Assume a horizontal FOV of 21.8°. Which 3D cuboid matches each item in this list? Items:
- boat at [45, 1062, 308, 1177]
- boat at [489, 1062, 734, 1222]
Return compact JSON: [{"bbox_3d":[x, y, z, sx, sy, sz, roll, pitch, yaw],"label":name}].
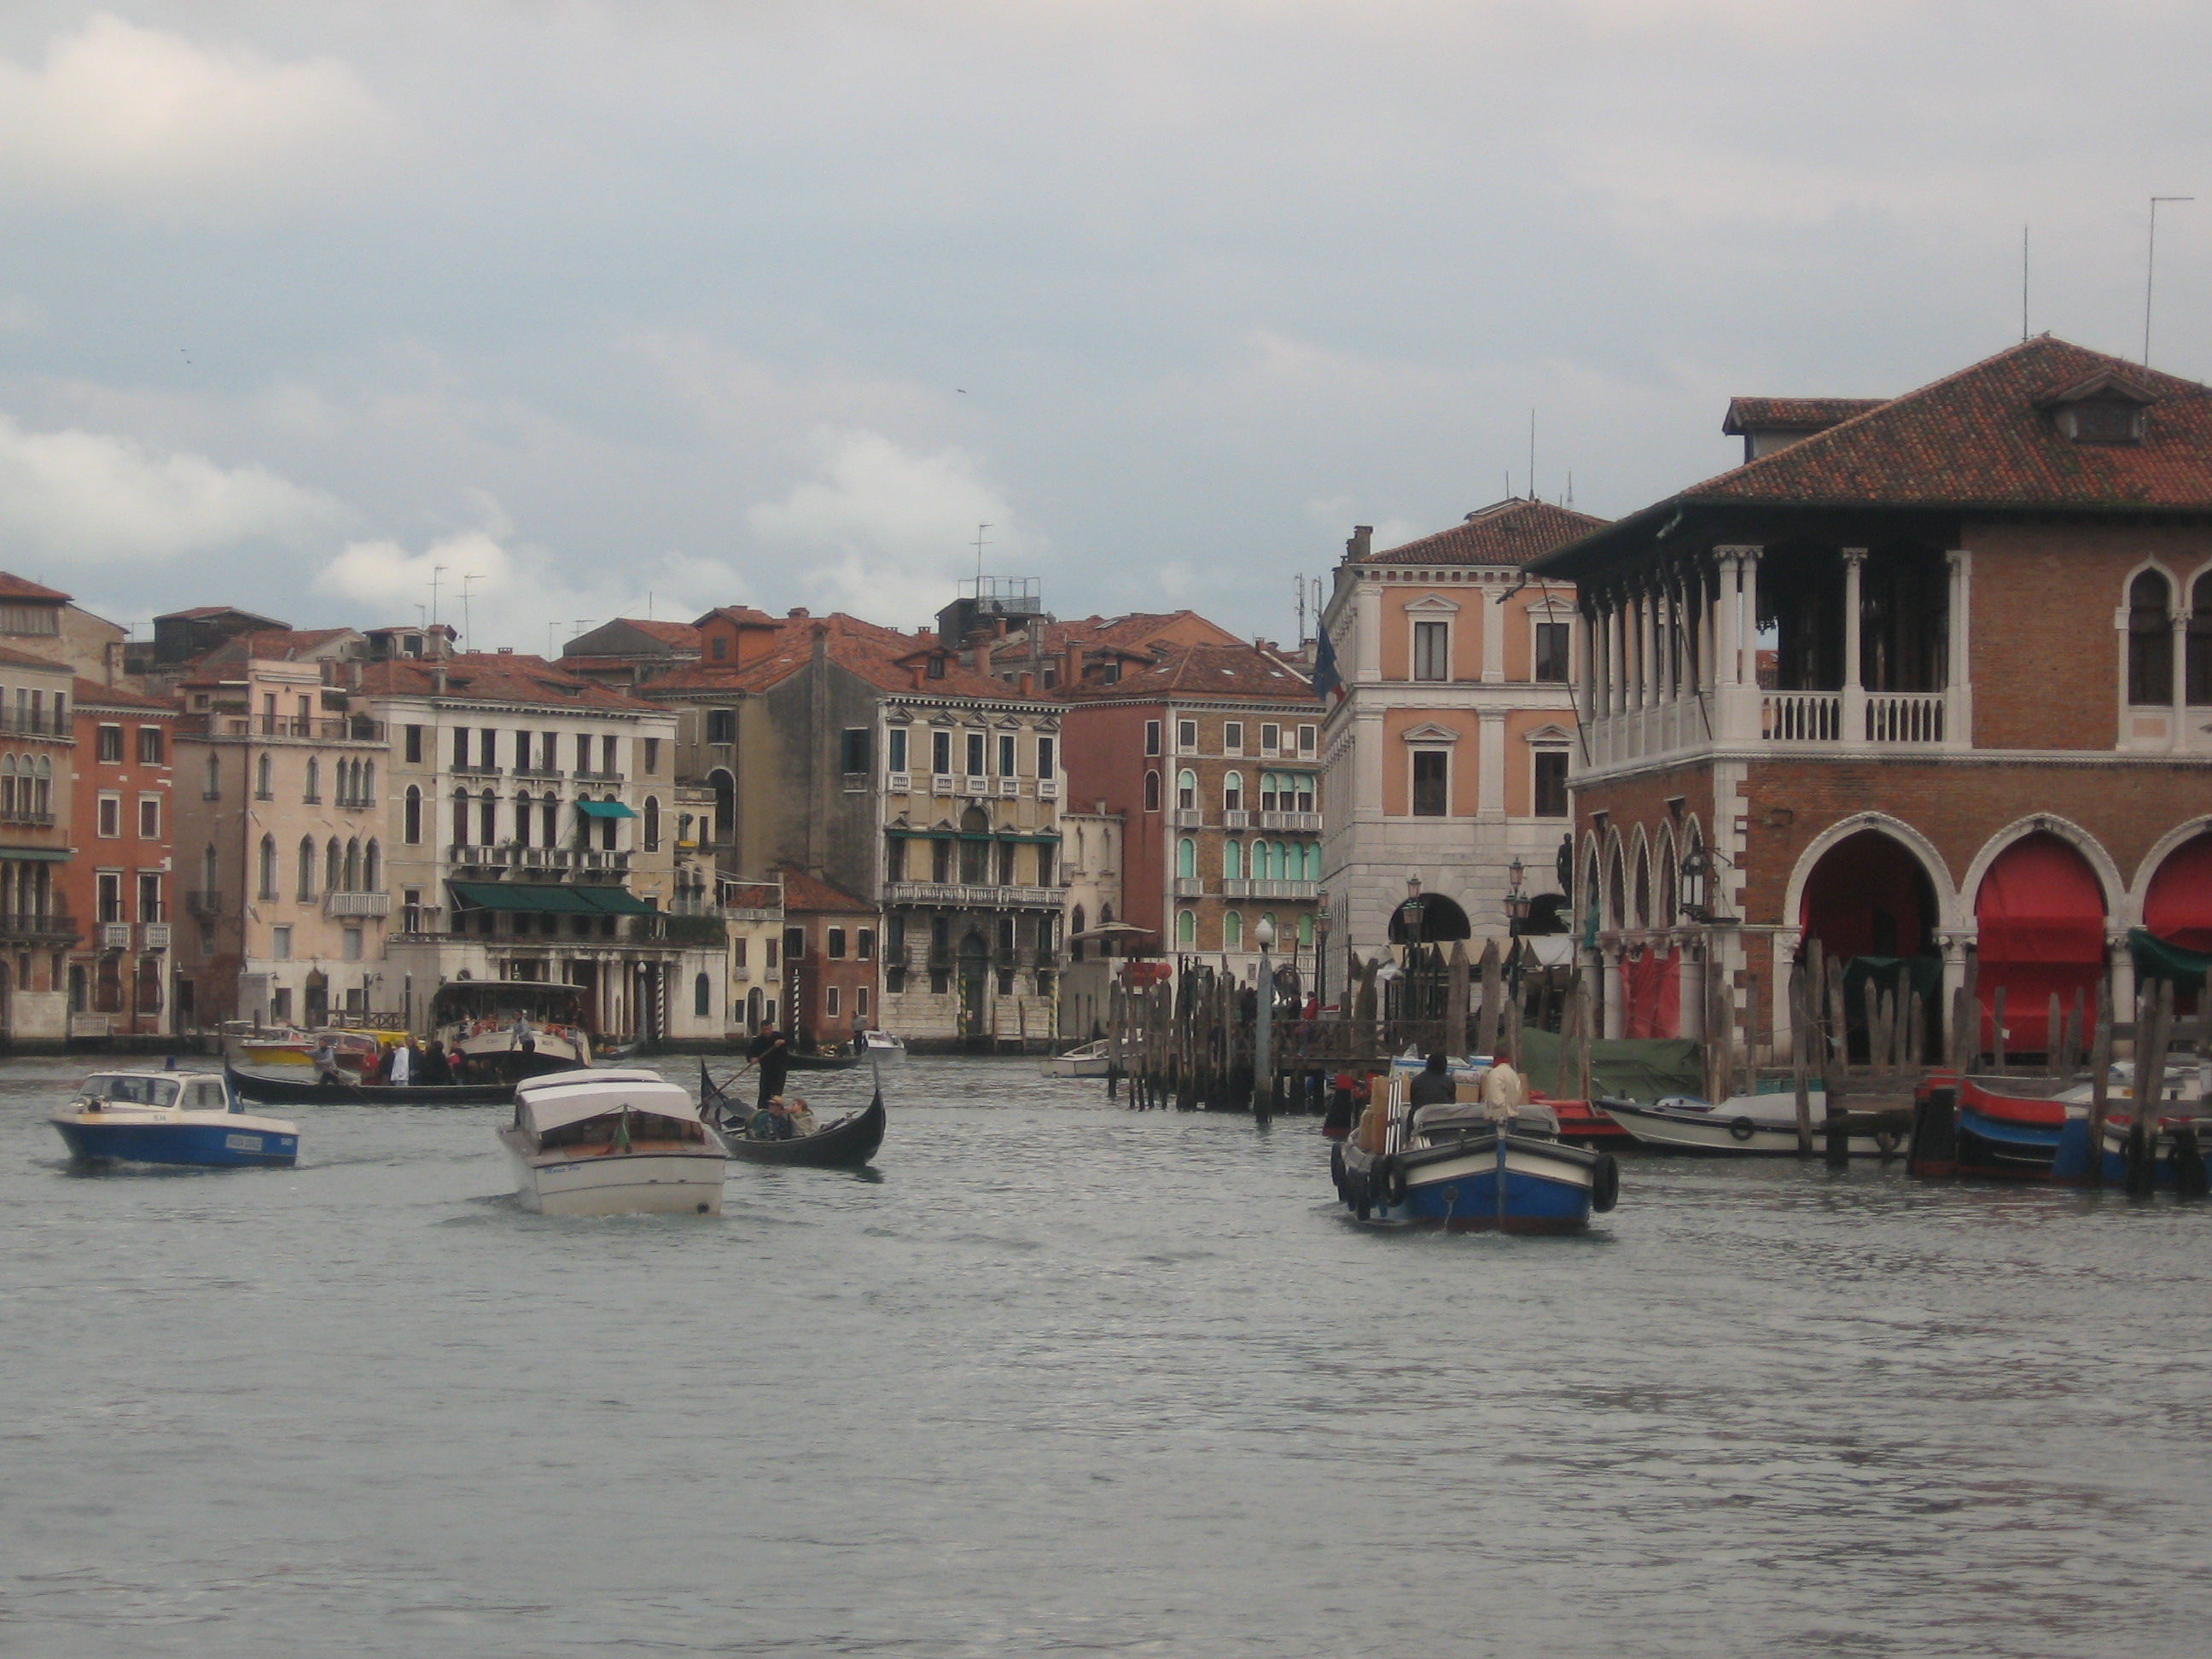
[{"bbox_3d":[-14.146,4.460,87.040,3.440,1.461,2.062,1,-4,-11],"label":"boat"},{"bbox_3d":[-6.530,4.293,77.964,2.468,1.945,2.835,-4,2,-41],"label":"boat"}]
